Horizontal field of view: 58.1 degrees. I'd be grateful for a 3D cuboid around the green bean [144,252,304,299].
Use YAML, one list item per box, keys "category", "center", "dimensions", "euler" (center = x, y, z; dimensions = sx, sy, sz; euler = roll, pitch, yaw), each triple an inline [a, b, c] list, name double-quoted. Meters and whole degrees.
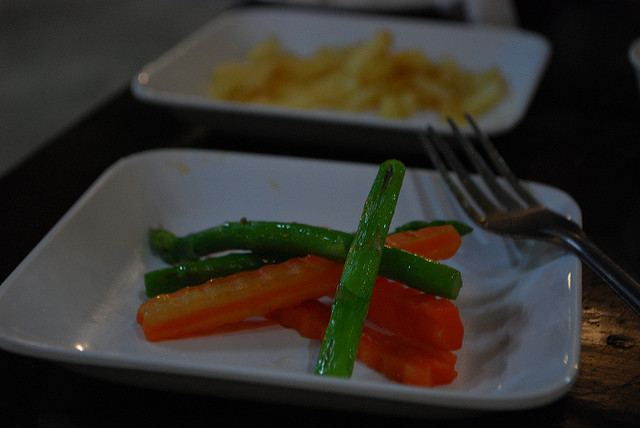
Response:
- category: "green bean"
  center: [-0.222, 0.160, 1.307]
  dimensions: [0.390, 0.090, 0.088]
  euler: [-6, 19, 14]
